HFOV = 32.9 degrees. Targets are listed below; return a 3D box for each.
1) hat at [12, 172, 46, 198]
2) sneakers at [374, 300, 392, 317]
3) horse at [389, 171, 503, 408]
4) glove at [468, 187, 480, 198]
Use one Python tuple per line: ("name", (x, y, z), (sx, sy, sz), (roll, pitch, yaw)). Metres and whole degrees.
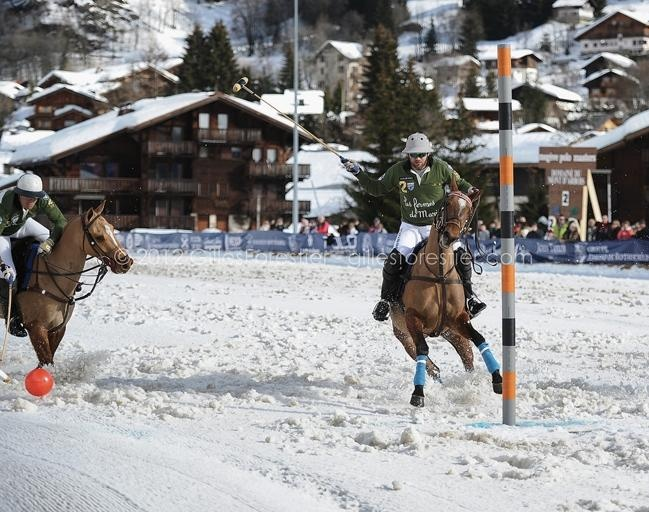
("hat", (-4.808, -1.161, 17.897), (0.438, 0.269, 0.365), (27, 22, 28))
("sneakers", (0.980, 0.916, 18.635), (0.215, 0.307, 0.291), (22, 19, 34))
("horse", (1.943, 0.500, 17.797), (1.656, 3.572, 1.910), (1, 3, 2))
("glove", (2.358, -0.998, 17.456), (0.133, 0.077, 0.180), (-11, 14, -32))
